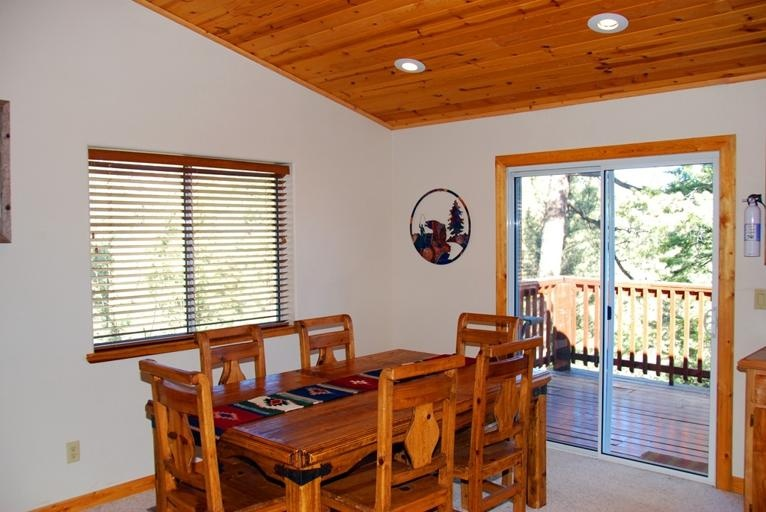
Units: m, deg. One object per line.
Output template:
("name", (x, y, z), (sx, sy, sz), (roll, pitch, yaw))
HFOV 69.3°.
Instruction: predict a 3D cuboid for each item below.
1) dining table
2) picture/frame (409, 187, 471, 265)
("dining table", (-0.170, 1.062, 3.314), (0.933, 0.651, 1.416), (-1, 0, 39))
("picture/frame", (0.600, -0.310, 5.637), (0.843, 0.935, 0.072), (0, -1, 36))
